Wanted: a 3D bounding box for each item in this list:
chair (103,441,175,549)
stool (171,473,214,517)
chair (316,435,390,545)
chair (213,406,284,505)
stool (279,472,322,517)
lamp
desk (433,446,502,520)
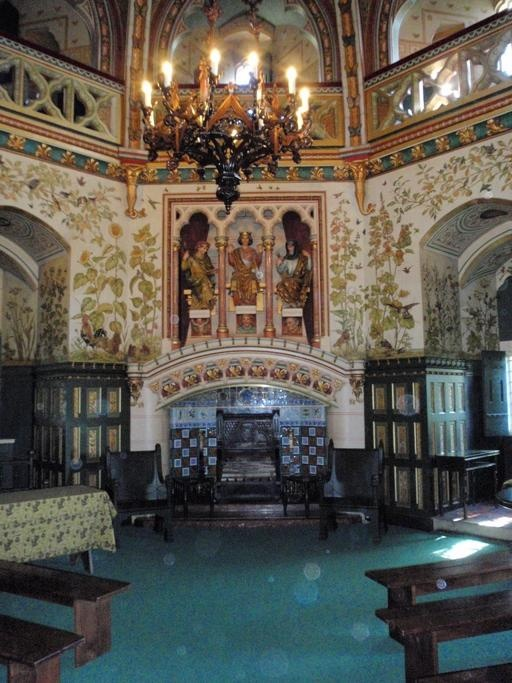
[{"bbox_3d":[-1.432,1.809,7.460,0.784,0.980,0.694,3,-8,-30],"label":"chair"},{"bbox_3d":[-0.858,2.120,8.620,0.641,0.464,0.618,0,-10,2],"label":"stool"},{"bbox_3d":[1.162,1.734,7.401,0.761,0.990,0.650,-2,-1,26],"label":"chair"},{"bbox_3d":[-0.044,1.684,9.270,0.959,1.213,0.741,-3,-12,11],"label":"chair"},{"bbox_3d":[0.627,2.091,8.607,0.664,0.688,0.674,10,-19,-31],"label":"stool"},{"bbox_3d":[-0.212,-2.048,4.962,1.346,1.916,0.648,0,-6,-9],"label":"lamp"},{"bbox_3d":[2.703,1.808,7.986,0.518,0.925,1.330,-4,-2,42],"label":"desk"}]
